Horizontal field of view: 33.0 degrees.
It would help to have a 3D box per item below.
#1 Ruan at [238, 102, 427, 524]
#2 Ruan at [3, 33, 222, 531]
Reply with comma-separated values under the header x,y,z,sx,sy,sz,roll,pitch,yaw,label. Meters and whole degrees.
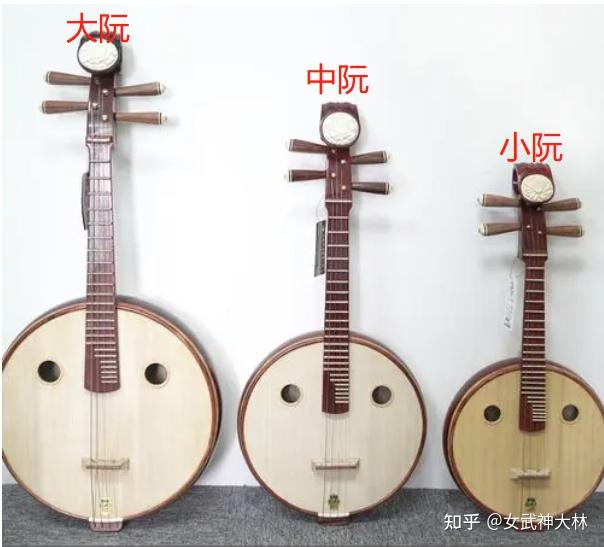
x,y,z,sx,sy,sz,roll,pitch,yaw,label
0.082,0.180,3.257,0.597,1.201,0.207,-3,10,-5,Ruan
-0.633,0.087,3.237,0.682,1.436,0.267,-4,10,-8,Ruan
